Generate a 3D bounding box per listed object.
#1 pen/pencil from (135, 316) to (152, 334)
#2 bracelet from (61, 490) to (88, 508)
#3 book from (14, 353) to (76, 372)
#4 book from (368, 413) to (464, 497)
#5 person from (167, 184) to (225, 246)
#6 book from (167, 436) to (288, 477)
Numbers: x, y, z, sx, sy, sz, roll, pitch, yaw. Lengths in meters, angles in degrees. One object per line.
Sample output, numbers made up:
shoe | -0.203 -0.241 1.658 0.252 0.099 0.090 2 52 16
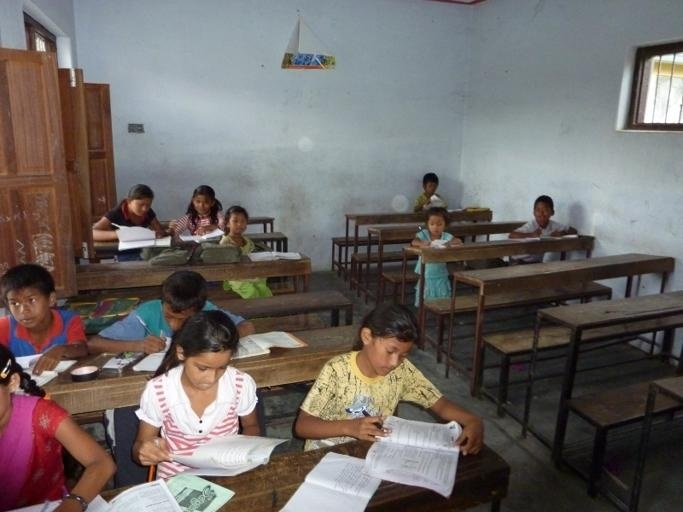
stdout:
pen/pencil | -1.050 0.355 2.462 0.018 0.111 0.013 -20 32 10
bracelet | -0.827 0.751 1.462 0.021 0.060 0.053 -50 -2 -34
book | -1.362 0.486 2.135 0.163 0.030 0.139 2 11 -1
book | 0.275 0.706 1.739 0.346 0.029 0.368 14 31 28
person | -1.466 -0.448 4.867 0.697 0.411 0.852 -10 13 -13
book | -0.403 0.682 1.629 0.231 0.064 0.203 -4 7 20
